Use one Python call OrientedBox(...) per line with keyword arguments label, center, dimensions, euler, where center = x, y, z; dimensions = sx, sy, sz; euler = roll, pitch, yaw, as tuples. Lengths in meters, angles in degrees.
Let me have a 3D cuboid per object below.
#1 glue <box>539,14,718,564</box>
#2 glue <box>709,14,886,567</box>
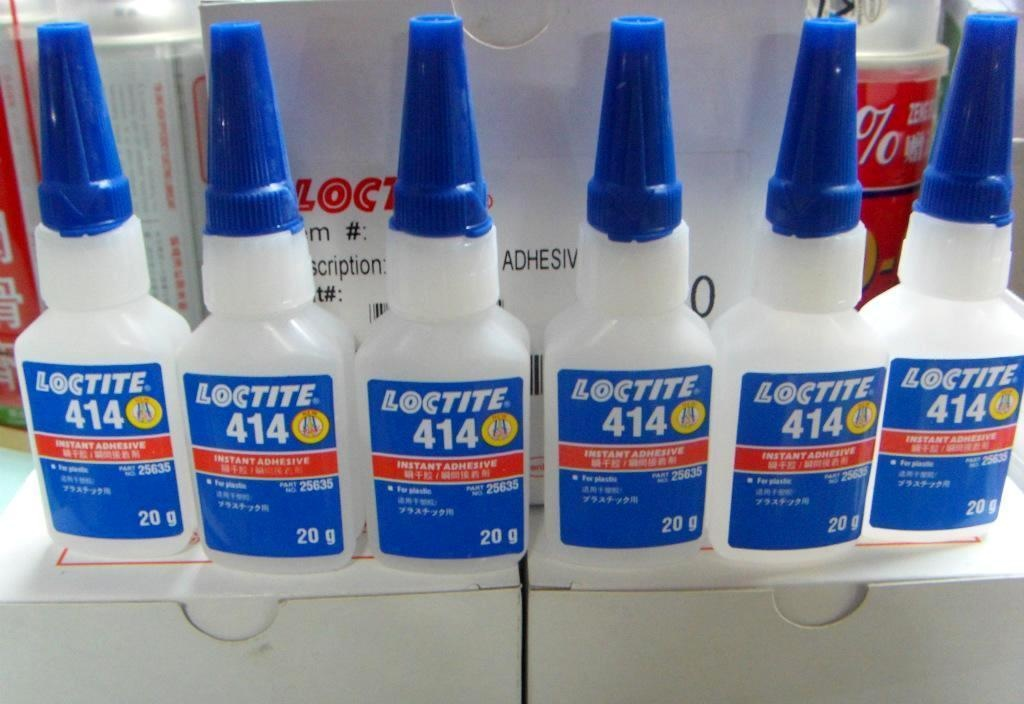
OrientedBox(label="glue", center=(0.085, -0.035, 0.660), dimensions=(0.145, 0.393, 0.108), euler=(-8, 24, -10))
OrientedBox(label="glue", center=(0.211, -0.032, 0.656), dimensions=(0.127, 0.391, 0.090), euler=(-4, 24, 0))
